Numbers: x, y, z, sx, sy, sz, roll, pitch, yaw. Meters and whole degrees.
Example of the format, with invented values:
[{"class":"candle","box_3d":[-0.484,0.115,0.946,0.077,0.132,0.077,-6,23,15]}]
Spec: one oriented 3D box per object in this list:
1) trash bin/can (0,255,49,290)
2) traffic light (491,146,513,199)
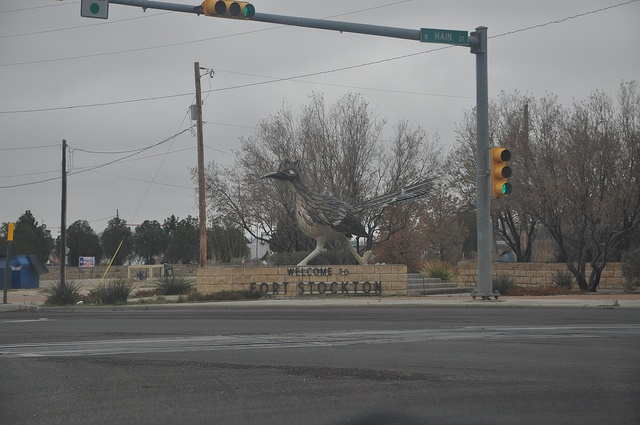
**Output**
[{"class":"trash bin/can","box_3d":[-16.649,3.347,57.384,1.699,1.363,1.951,-2,-3,21]},{"class":"traffic light","box_3d":[6.464,-1.432,36.096,0.813,1.749,0.519,2,7,25]}]
